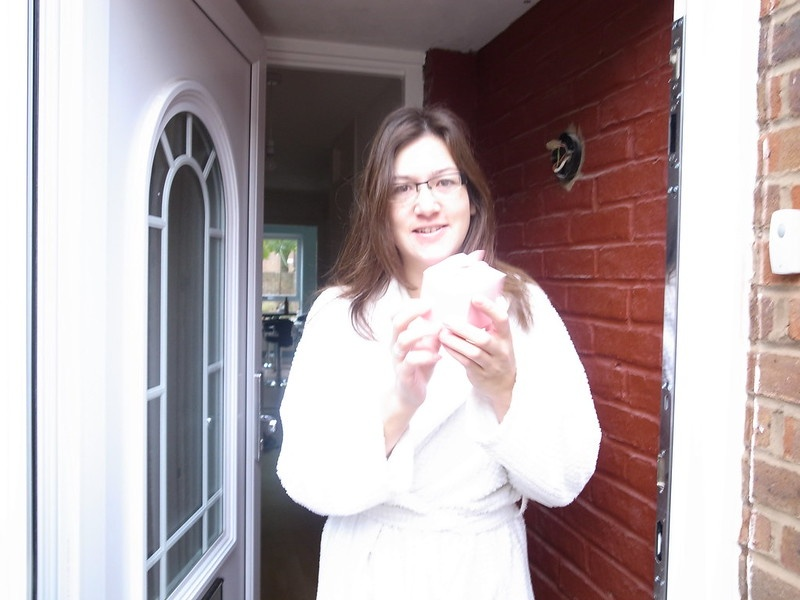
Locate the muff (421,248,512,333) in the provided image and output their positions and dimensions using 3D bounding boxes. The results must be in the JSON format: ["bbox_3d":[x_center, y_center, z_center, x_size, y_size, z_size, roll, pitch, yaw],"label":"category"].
[{"bbox_3d":[0.129,-0.033,1.173,0.112,0.125,0.085,-27,11,-17],"label":"muff"}]
